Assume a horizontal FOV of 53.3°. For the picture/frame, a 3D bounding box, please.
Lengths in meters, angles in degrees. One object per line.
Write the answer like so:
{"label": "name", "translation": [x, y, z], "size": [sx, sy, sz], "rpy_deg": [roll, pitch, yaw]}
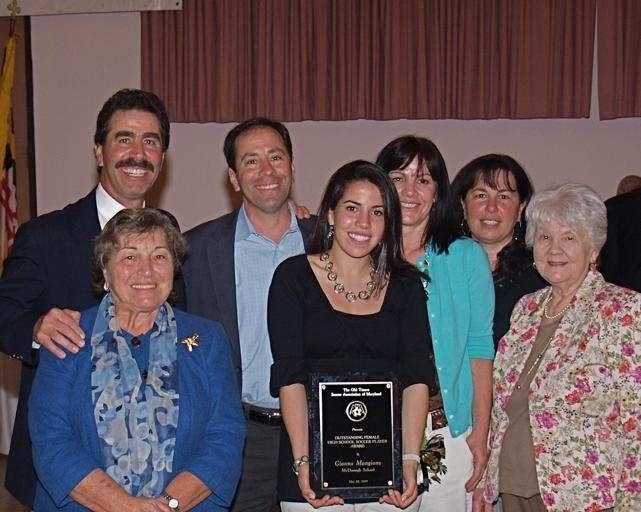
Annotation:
{"label": "picture/frame", "translation": [0.142, 0.755, 2.640], "size": [0.441, 0.678, 0.084], "rpy_deg": [0, -5, -3]}

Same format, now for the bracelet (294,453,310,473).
{"label": "bracelet", "translation": [-0.088, 0.861, 2.702], "size": [0.071, 0.079, 0.051], "rpy_deg": [10, 39, -33]}

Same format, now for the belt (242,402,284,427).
{"label": "belt", "translation": [-0.283, 0.753, 3.069], "size": [0.137, 0.056, 0.111], "rpy_deg": [12, -3, 1]}

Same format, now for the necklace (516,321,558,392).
{"label": "necklace", "translation": [1.022, 0.437, 2.966], "size": [0.055, 0.417, 0.119], "rpy_deg": [37, -26, -22]}
